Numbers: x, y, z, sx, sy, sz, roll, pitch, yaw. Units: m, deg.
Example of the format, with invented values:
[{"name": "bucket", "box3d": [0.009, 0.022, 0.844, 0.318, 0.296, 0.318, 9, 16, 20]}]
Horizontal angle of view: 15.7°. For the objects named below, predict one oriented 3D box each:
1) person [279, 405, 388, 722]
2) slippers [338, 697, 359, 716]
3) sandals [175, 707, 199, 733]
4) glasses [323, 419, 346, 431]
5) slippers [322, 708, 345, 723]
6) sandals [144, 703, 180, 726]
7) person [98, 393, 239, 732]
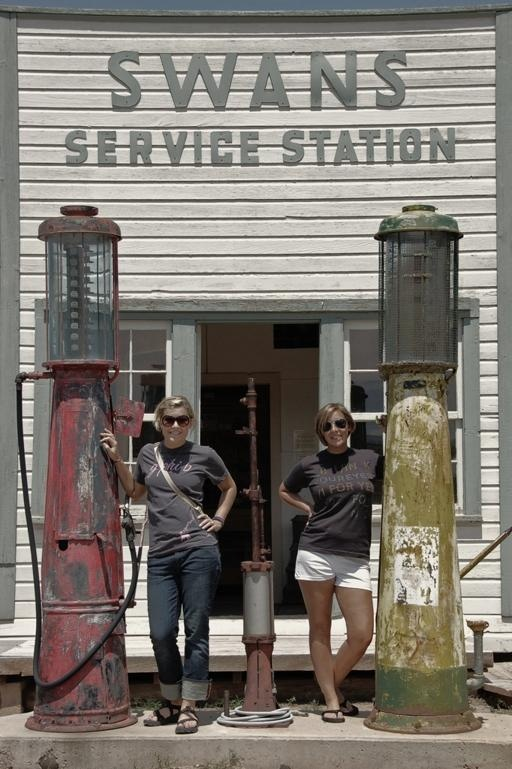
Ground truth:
[{"name": "person", "box3d": [0.358, 0.858, 9.066, 0.451, 1.503, 0.425, 0, 1, 14]}, {"name": "slippers", "box3d": [0.454, 1.597, 9.192, 0.093, 0.115, 0.278, 1, -17, 1]}, {"name": "sandals", "box3d": [-0.331, 1.578, 8.749, 0.108, 0.110, 0.163, -1, 2, -1]}, {"name": "glasses", "box3d": [0.386, 0.194, 9.095, 0.059, 0.033, 0.070, -3, -36, 10]}, {"name": "slippers", "box3d": [0.368, 1.588, 8.925, 0.113, 0.057, 0.185, -1, 2, 2]}, {"name": "sandals", "box3d": [-0.448, 1.583, 8.932, 0.071, 0.107, 0.230, -8, -21, 29]}, {"name": "person", "box3d": [-0.394, 0.846, 8.980, 0.477, 1.565, 0.543, 0, 1, 28]}]
